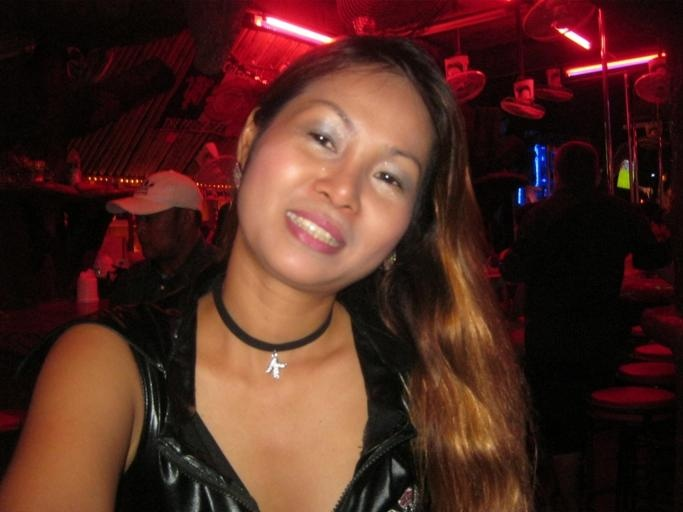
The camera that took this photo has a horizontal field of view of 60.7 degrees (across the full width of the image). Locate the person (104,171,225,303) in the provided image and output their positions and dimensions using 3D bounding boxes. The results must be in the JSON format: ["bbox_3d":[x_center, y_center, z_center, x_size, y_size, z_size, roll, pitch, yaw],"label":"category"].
[{"bbox_3d":[-1.630,-0.199,5.487,1.050,1.214,0.899,0,10,-25],"label":"person"}]
